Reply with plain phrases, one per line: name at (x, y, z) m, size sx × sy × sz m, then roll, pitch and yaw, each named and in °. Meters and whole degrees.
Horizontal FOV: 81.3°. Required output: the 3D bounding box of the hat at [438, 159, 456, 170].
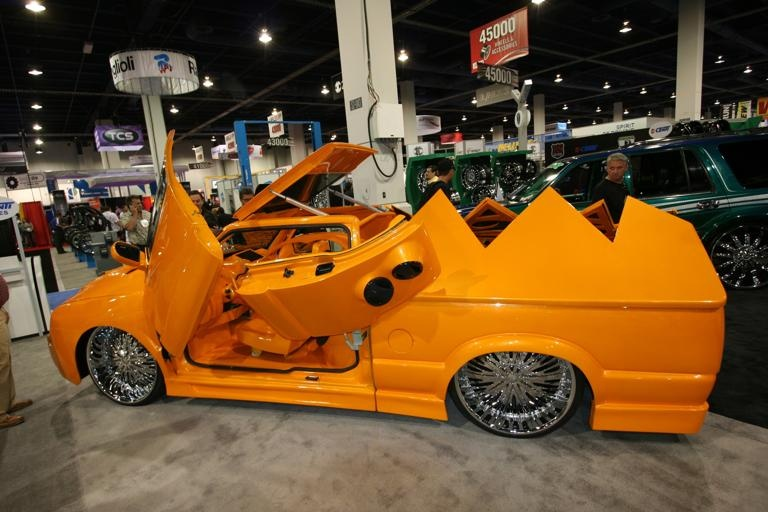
hat at (0.886, -1.365, 6.525) m, size 0.168 × 0.186 × 0.205 m, roll 15°, pitch 15°, yaw 34°

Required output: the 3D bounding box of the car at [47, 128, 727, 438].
car at (-0.259, 0.414, 4.778) m, size 6.222 × 2.038 × 2.828 m, roll 0°, pitch 1°, yaw 10°
